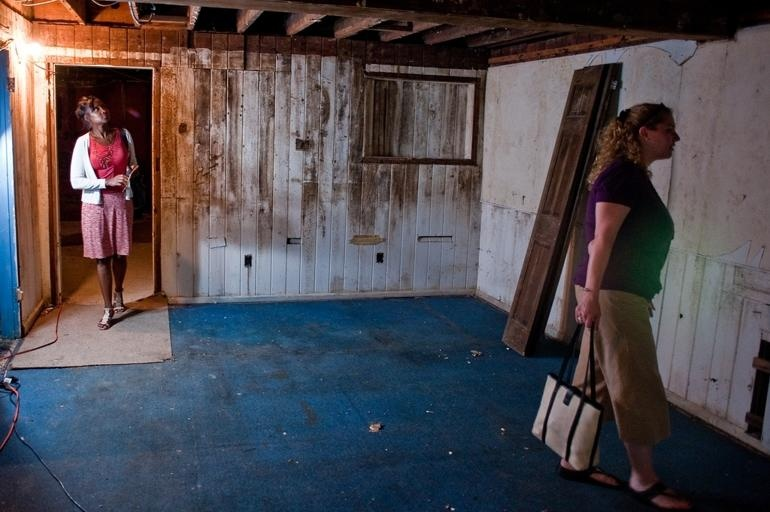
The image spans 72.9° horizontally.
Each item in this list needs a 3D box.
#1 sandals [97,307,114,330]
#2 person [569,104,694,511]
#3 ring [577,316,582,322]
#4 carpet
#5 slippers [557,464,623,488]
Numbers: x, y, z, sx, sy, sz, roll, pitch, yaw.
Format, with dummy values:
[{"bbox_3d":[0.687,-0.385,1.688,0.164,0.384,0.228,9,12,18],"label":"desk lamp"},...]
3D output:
[{"bbox_3d":[-3.015,0.691,5.649,0.104,0.116,0.299,2,14,-10],"label":"sandals"},{"bbox_3d":[1.626,0.316,3.395,0.776,2.547,0.681,5,14,12],"label":"person"},{"bbox_3d":[1.248,0.407,3.336,0.008,0.031,0.032,3,-3,-39],"label":"ring"},{"bbox_3d":[-2.944,0.832,5.450,1.461,0.104,1.382,-2,13,-15],"label":"carpet"},{"bbox_3d":[1.431,1.525,3.628,0.412,0.095,0.154,4,5,10],"label":"slippers"}]
